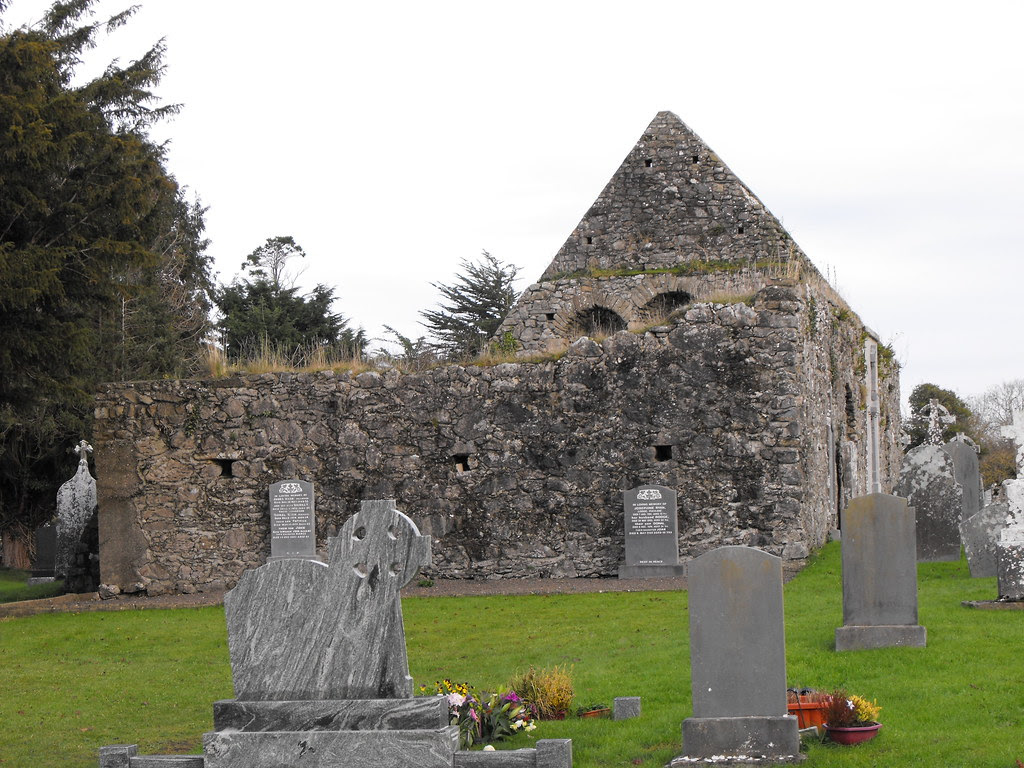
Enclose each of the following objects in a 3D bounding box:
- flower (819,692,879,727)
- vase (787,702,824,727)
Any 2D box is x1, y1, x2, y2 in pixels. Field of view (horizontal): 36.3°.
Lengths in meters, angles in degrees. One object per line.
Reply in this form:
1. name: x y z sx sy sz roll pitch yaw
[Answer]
1. flower: 4.177 3.928 19.267 0.434 0.264 0.446 -3 -5 30
2. vase: 3.633 4.077 19.331 0.356 0.138 0.258 -1 -2 3
